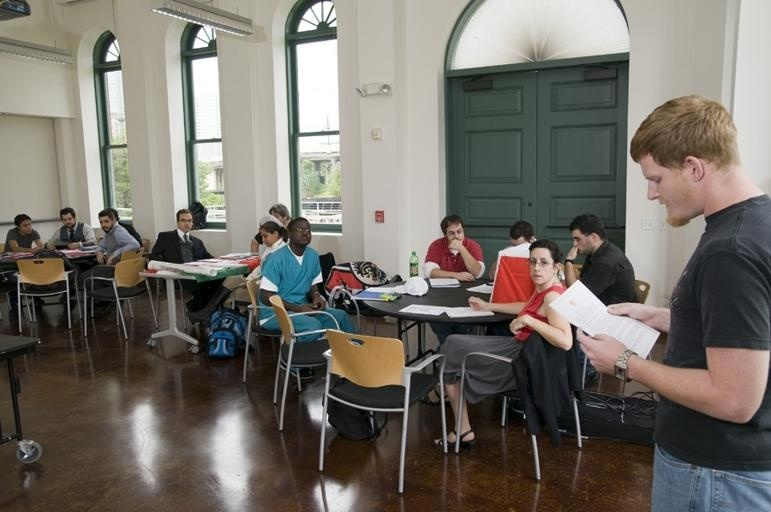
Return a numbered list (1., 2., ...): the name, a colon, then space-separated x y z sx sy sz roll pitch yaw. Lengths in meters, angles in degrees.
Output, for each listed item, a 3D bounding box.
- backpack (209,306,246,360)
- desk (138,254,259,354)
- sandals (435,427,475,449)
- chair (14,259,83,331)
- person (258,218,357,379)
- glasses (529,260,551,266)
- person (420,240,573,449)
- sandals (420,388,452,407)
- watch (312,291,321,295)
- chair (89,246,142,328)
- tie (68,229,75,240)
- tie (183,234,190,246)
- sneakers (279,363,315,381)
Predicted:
1. backpack: -1.695 0.899 6.342 0.372 0.520 0.536 0 -6 -3
2. desk: -2.268 0.345 6.888 0.938 1.196 1.678 2 3 15
3. sandals: 0.550 1.421 4.275 0.312 0.136 0.136 2 -3 10
4. chair: -4.614 0.532 7.576 0.764 1.130 0.761 -1 12 -11
5. person: -0.775 0.341 5.455 1.023 1.340 0.753 5 5 23
6. glasses: 1.134 0.053 4.057 0.143 0.043 0.042 1 13 10
7. person: 0.911 0.678 4.205 0.966 1.583 0.746 3 14 19
8. sandals: 0.417 1.231 4.876 0.379 0.140 0.138 -1 10 13
9. watch: -0.700 0.391 5.672 0.076 0.029 0.055 2 3 -13
10. chair: -3.667 0.455 7.532 0.765 0.978 1.567 -9 15 -29
11. tie: -5.113 -0.345 9.043 0.107 0.142 0.059 5 15 26
12. tie: -2.840 -0.232 7.880 0.084 0.119 0.034 4 -33 -24
13. sneakers: -0.863 1.135 5.493 0.440 0.182 0.153 2 5 0
